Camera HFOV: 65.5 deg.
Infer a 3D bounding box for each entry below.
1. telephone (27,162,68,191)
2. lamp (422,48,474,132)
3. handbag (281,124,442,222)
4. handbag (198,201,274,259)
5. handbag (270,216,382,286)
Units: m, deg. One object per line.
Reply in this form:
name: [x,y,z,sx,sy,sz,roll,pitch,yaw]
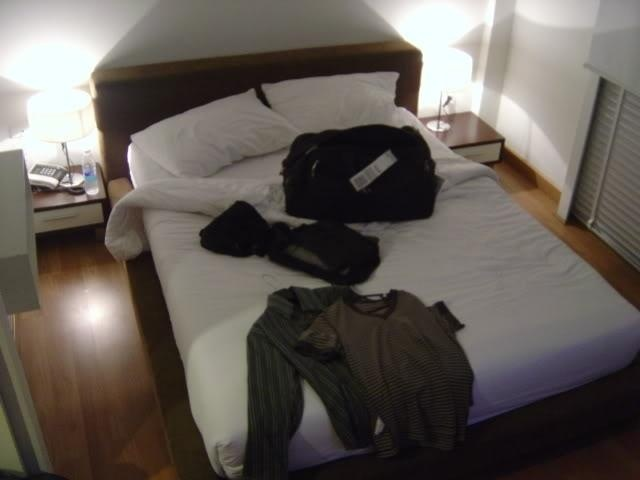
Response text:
telephone: [-1.808,-0.396,3.292,0.194,0.063,0.212,9,47,1]
lamp: [0.956,-1.150,3.884,0.347,0.564,0.337,5,23,-1]
handbag: [0.233,-0.345,2.783,0.729,0.253,0.575,0,61,-3]
handbag: [-0.425,-0.027,2.534,0.331,0.193,0.289,-25,37,-31]
handbag: [0.011,0.044,2.457,0.410,0.127,0.313,18,42,18]
